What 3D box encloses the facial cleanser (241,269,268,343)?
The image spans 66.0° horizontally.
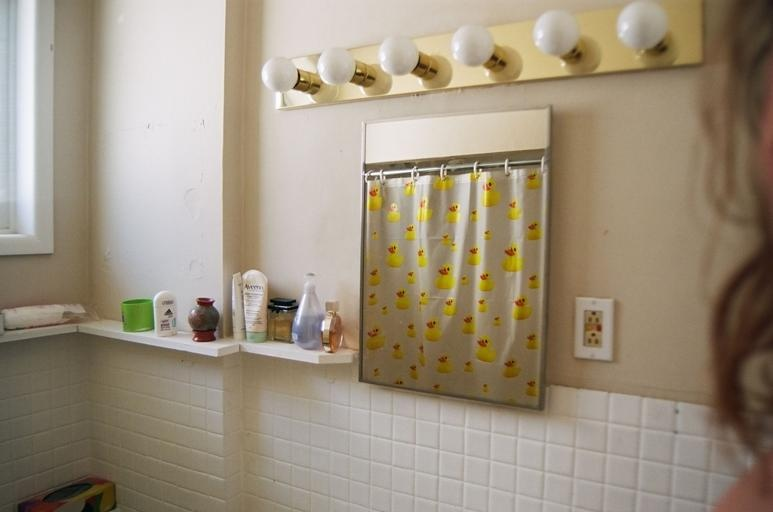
[{"bbox_3d":[-0.427,0.170,1.972,0.101,0.237,0.067,-1,11,12],"label":"facial cleanser"}]

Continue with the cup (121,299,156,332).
[{"bbox_3d":[-0.855,0.205,2.066,0.107,0.109,0.101,1,1,0],"label":"cup"}]

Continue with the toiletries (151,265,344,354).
[{"bbox_3d":[-0.439,0.181,1.958,0.687,0.300,0.211,2,0,34],"label":"toiletries"}]
